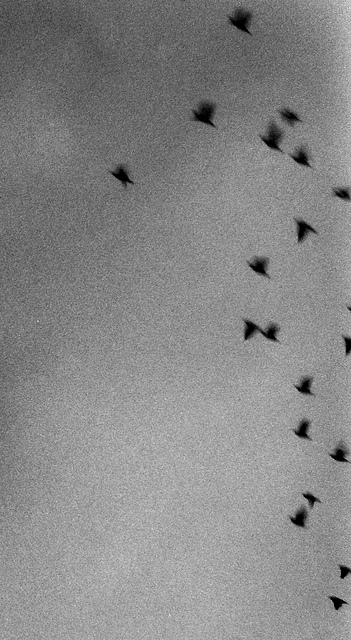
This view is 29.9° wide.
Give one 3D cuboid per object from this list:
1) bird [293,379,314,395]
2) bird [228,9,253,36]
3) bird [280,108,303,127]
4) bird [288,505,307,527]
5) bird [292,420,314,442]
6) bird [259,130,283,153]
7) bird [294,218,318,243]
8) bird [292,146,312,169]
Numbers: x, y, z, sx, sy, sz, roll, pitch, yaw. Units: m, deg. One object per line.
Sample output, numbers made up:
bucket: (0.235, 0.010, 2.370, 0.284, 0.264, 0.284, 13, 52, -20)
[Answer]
bird: (0.245, 0.126, 1.231, 0.026, 0.027, 0.011, -41, 22, 15)
bird: (0.124, -0.550, 1.219, 0.039, 0.040, 0.014, -39, 1, 0)
bird: (0.215, -0.378, 1.225, 0.040, 0.009, 0.021, 16, 8, -13)
bird: (0.234, 0.367, 1.226, 0.026, 0.033, 0.010, -7, 1, 1)
bird: (0.240, 0.208, 1.231, 0.032, 0.034, 0.012, 9, 1, -8)
bird: (0.181, -0.334, 1.224, 0.033, 0.026, 0.037, -2, -34, 2)
bird: (0.242, -0.171, 1.231, 0.045, 0.043, 0.017, -12, 19, -1)
bird: (0.235, -0.305, 1.227, 0.023, 0.053, 0.021, -39, -8, 13)
